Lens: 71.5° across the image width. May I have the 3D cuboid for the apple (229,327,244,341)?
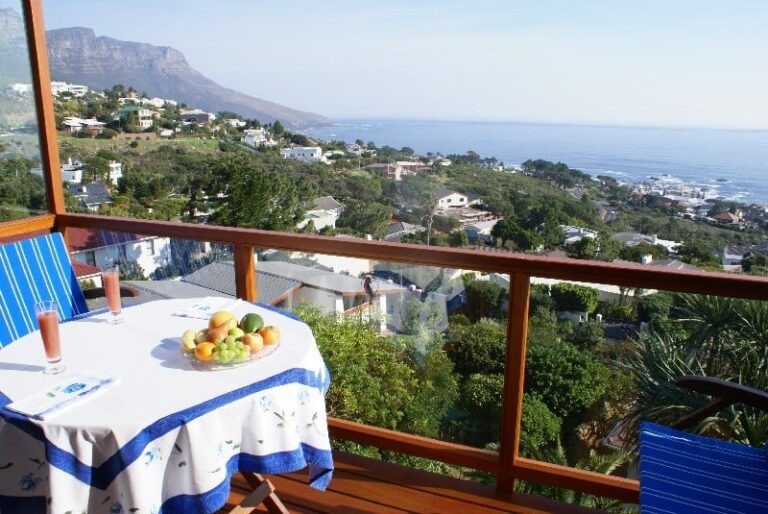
[{"bbox_3d":[-0.508,0.263,1.838,0.049,0.042,0.042,1,-39,47],"label":"apple"}]

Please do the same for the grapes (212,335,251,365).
[{"bbox_3d":[-0.510,0.310,1.785,0.122,0.078,0.070,-6,-29,41],"label":"grapes"}]

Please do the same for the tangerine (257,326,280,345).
[{"bbox_3d":[-0.409,0.267,1.902,0.064,0.065,0.062,4,9,13],"label":"tangerine"}]

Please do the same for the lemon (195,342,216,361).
[{"bbox_3d":[-0.601,0.314,1.789,0.063,0.063,0.060,1,3,11],"label":"lemon"}]

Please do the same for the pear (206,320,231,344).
[{"bbox_3d":[-0.569,0.252,1.843,0.044,0.048,0.086,4,10,11],"label":"pear"}]

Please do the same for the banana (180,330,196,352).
[{"bbox_3d":[-0.670,0.287,1.839,0.041,0.072,0.052,2,1,-8],"label":"banana"}]

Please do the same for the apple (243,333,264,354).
[{"bbox_3d":[-0.447,0.291,1.825,0.063,0.062,0.063,0,16,-7],"label":"apple"}]

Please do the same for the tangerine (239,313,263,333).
[{"bbox_3d":[-0.473,0.234,1.905,0.059,0.056,0.076,33,27,-29],"label":"tangerine"}]
